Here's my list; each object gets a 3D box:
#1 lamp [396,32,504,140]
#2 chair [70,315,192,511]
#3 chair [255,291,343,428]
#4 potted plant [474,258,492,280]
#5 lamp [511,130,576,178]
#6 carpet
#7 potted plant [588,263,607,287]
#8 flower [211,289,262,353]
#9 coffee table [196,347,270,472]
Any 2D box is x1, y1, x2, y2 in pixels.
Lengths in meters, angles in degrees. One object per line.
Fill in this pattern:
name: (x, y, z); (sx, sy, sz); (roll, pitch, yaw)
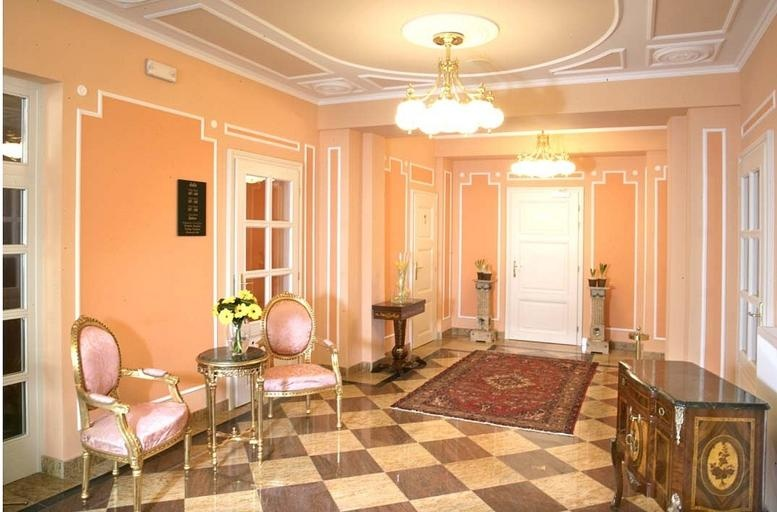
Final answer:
lamp: (0.533, -1.508, 4.541); (0.968, 0.733, 0.932); (-11, 21, -25)
chair: (-2.017, 1.152, 4.130); (0.874, 1.329, 0.650); (6, 11, 30)
chair: (-0.898, 1.018, 5.206); (0.935, 1.188, 0.945); (4, 3, 19)
potted plant: (1.677, 0.246, 8.912); (0.364, 0.342, 0.261); (-1, -3, 28)
lamp: (2.169, -1.431, 7.360); (0.901, 0.544, 0.882); (-10, 16, -26)
carpet: (1.434, 1.573, 6.452); (1.883, 0.161, 2.551); (5, 9, 26)
potted plant: (3.277, 0.301, 8.229); (0.297, 0.392, 0.410); (1, 3, 4)
flower: (-1.346, 0.614, 4.736); (0.370, 0.408, 0.355); (7, 8, -6)
coffee table: (-1.464, 1.259, 4.916); (0.602, 0.977, 0.998); (-3, 9, -20)
